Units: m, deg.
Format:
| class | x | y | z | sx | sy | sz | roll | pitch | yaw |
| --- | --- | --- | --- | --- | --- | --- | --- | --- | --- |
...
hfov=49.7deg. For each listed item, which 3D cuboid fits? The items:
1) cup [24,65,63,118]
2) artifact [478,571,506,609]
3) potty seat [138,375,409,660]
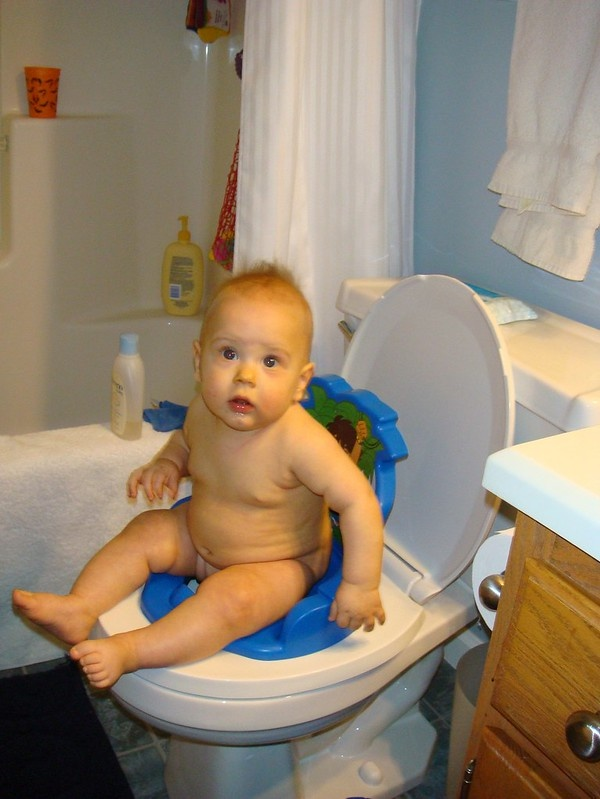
| class | x | y | z | sx | sy | sz | roll | pitch | yaw |
| --- | --- | --- | --- | --- | --- | --- | --- | --- | --- |
| cup | -0.761 | -0.903 | 1.917 | 0.104 | 0.129 | 0.092 | 2 | 18 | -13 |
| artifact | 0.136 | 0.133 | 0.465 | 0.021 | 0.018 | 0.024 | 49 | 17 | 22 |
| potty seat | -0.045 | 0.120 | 0.869 | 0.298 | 0.336 | 0.298 | -10 | 31 | -36 |
